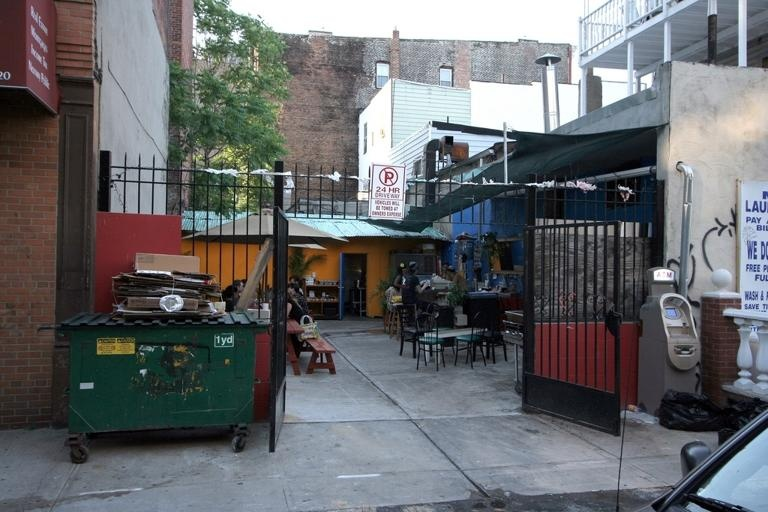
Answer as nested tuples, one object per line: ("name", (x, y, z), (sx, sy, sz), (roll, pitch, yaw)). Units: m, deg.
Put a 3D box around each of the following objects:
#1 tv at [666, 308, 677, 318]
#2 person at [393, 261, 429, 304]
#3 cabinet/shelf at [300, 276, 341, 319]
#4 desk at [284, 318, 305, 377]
("tv", (4.763, 0.953, 11.823), (0.221, 0.150, 0.093), (-2, 8, -19))
("person", (0.712, 0.746, 19.167), (0.686, 1.450, 0.811), (12, 26, 38))
("cabinet/shelf", (-2.135, 1.416, 23.448), (1.332, 1.380, 0.459), (0, -3, -12))
("desk", (-1.798, 1.826, 14.112), (0.401, 0.617, 1.305), (0, -2, -6))
